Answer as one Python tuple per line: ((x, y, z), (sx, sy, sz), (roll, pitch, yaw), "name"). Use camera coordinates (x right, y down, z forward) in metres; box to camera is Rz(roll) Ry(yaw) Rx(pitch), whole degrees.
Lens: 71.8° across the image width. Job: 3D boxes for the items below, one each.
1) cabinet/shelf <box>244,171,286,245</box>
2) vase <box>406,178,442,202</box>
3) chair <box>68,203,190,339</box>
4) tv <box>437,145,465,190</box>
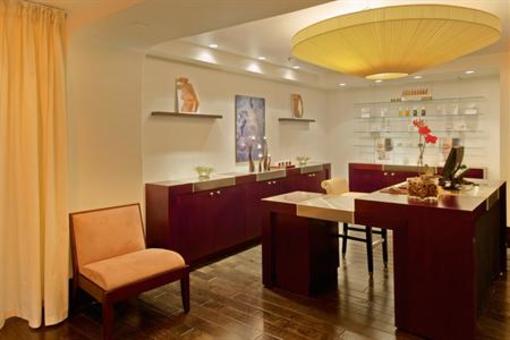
((0.114, 0.606, 5.450), (0.482, 1.052, 1.259), (0, 1, 30), "cabinet/shelf")
((1.820, 0.208, 3.830), (0.267, 0.199, 0.270), (1, 3, 33), "vase")
((-1.472, 1.074, 4.091), (1.094, 1.192, 0.893), (-6, 8, -36), "chair")
((2.760, -0.033, 4.932), (0.321, 0.699, 0.729), (2, 7, 36), "tv")
